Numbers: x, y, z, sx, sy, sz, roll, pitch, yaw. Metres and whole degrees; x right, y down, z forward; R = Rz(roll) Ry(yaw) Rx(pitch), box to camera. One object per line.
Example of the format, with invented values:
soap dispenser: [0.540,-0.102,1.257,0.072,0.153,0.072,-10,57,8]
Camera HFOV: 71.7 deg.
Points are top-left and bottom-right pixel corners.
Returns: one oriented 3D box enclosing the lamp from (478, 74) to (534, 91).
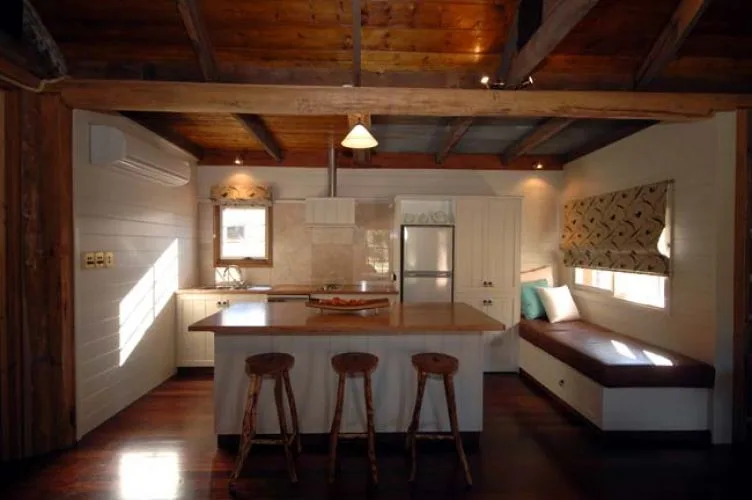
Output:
lamp: [1.370,-1.766,5.467,0.553,0.155,0.227,0,-1,11]

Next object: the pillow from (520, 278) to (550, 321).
pillow: [2.178,0.701,7.332,0.504,0.422,0.139,2,-7,2]

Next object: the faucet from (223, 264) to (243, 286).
faucet: [-2.055,0.370,7.670,0.430,0.317,0.230,-1,-1,34]

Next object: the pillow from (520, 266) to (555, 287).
pillow: [2.374,0.368,7.610,0.470,0.291,0.123,-7,-7,-14]

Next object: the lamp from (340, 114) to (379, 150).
lamp: [-0.170,-1.268,5.441,0.337,0.312,0.327,5,-9,-36]

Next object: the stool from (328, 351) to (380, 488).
stool: [-0.217,1.611,5.150,0.488,1.195,0.515,0,-1,0]

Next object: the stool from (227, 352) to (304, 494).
stool: [-1.066,1.635,5.143,0.674,1.229,0.522,0,-1,-7]

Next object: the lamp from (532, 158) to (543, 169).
lamp: [2.394,-1.269,7.748,0.129,0.108,0.193,-1,-1,28]

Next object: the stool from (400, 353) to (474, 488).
stool: [0.611,1.621,5.168,0.644,1.197,0.535,0,-1,3]

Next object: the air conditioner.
air conditioner: [-2.757,-1.101,6.192,0.334,0.502,1.265,0,-1,15]

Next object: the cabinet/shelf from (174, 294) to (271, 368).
cabinet/shelf: [-2.076,1.050,7.507,1.649,1.360,0.935,0,-2,-4]

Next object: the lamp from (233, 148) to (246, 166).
lamp: [-1.983,-1.371,7.615,0.136,0.222,0.274,0,-1,-16]
